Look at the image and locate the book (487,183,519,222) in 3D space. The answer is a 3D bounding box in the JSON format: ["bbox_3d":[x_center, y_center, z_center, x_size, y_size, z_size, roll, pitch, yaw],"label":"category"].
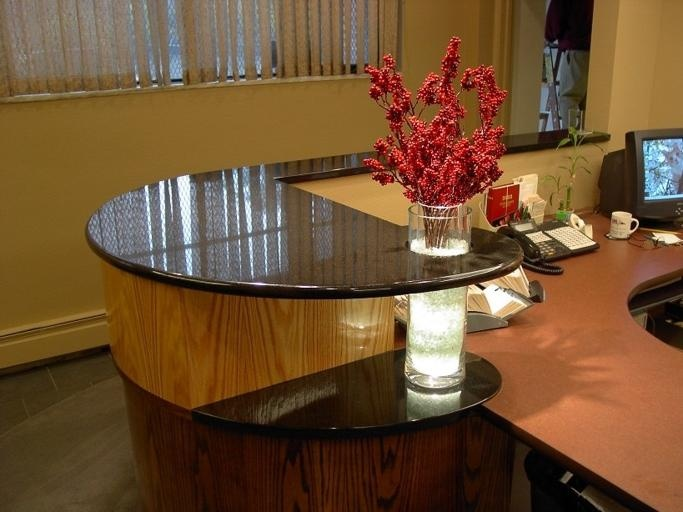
[{"bbox_3d":[0.822,-0.276,2.866,0.149,0.189,0.038,-14,27,-21],"label":"book"}]

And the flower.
[{"bbox_3d":[0.302,-0.303,1.702,0.354,0.592,0.420,5,37,21],"label":"flower"}]

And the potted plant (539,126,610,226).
[{"bbox_3d":[1.284,-0.387,3.245,0.245,0.432,0.296,-15,17,-33],"label":"potted plant"}]
